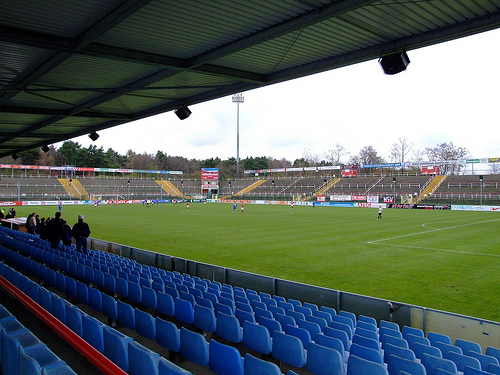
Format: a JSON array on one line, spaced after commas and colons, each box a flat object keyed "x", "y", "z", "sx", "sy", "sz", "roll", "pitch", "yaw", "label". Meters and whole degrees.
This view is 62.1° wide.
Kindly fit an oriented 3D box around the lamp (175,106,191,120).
[{"x": -2.806, "y": -3.098, "z": 17.219, "sx": 0.364, "sy": 0.589, "sz": 0.742, "roll": -2, "pitch": 4, "yaw": -38, "label": "lamp"}]

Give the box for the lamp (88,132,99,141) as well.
[{"x": -8.407, "y": -2.709, "z": 22.168, "sx": 0.404, "sy": 0.484, "sz": 0.508, "roll": -1, "pitch": 3, "yaw": -27, "label": "lamp"}]
